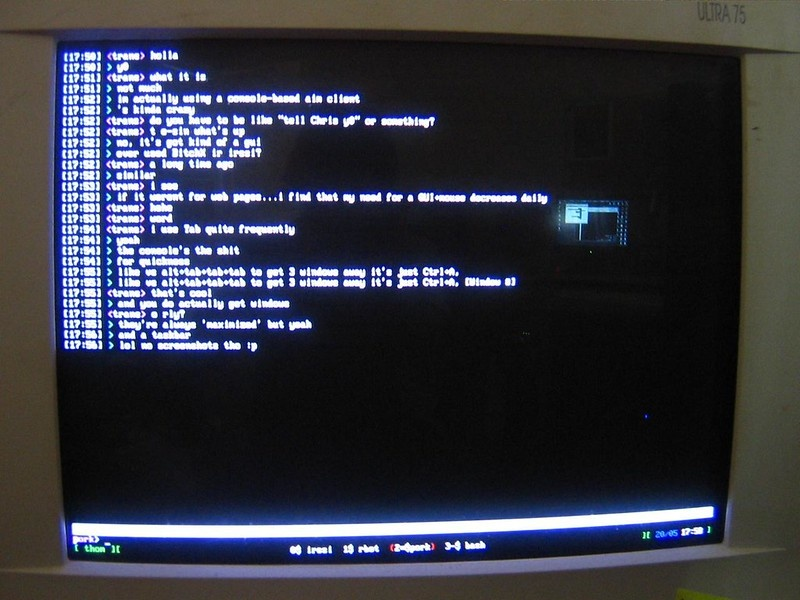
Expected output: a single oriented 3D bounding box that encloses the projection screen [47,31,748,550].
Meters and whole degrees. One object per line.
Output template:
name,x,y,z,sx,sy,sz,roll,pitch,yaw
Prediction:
projection screen,-0.069,0.017,2.344,1.492,1.068,0.823,0,-2,-13
